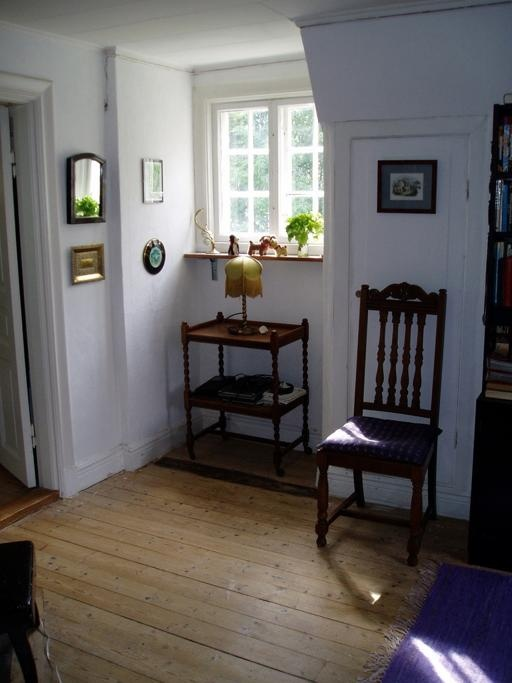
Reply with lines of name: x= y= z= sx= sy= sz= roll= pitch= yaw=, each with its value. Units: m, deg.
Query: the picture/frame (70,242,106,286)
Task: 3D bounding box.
picture/frame: x=-0.905 y=-0.415 z=2.973 sx=0.029 sy=0.191 sz=0.221 roll=8 pitch=14 yaw=27

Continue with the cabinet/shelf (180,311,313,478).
cabinet/shelf: x=-0.032 y=0.342 z=3.522 sx=0.785 sy=0.990 sz=0.520 roll=5 pitch=14 yaw=27

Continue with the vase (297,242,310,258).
vase: x=0.298 y=-0.559 z=3.396 sx=0.078 sy=0.079 sz=0.140 roll=-7 pitch=17 yaw=7

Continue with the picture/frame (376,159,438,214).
picture/frame: x=0.708 y=-0.714 z=2.543 sx=0.242 sy=0.224 sz=0.019 roll=7 pitch=17 yaw=32

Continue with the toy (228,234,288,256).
toy: x=0.021 y=-0.606 z=3.550 sx=0.418 sy=0.146 sz=0.195 roll=4 pitch=9 yaw=33

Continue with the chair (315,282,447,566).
chair: x=0.581 y=0.322 z=2.552 sx=0.543 sy=1.159 sz=0.769 roll=1 pitch=8 yaw=20

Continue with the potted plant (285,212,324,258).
potted plant: x=0.293 y=-0.629 z=3.338 sx=0.229 sy=0.250 sz=0.241 roll=0 pitch=4 yaw=0

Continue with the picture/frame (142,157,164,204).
picture/frame: x=-0.614 y=-0.955 z=3.334 sx=0.013 sy=0.258 sz=0.224 roll=-11 pitch=19 yaw=-41

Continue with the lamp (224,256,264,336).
lamp: x=-0.067 y=-0.291 z=3.449 sx=0.227 sy=0.477 sz=0.366 roll=-1 pitch=8 yaw=0
